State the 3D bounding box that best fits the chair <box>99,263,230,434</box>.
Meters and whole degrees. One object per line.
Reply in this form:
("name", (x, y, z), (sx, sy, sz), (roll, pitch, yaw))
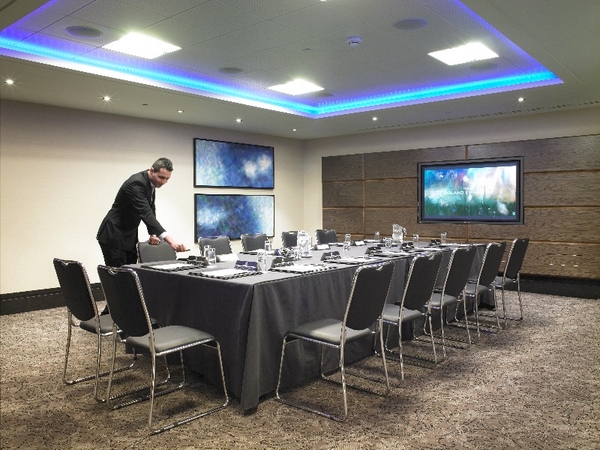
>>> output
("chair", (-1.162, 0.897, 3.261), (0.790, 1.215, 0.939), (-4, 6, -45))
